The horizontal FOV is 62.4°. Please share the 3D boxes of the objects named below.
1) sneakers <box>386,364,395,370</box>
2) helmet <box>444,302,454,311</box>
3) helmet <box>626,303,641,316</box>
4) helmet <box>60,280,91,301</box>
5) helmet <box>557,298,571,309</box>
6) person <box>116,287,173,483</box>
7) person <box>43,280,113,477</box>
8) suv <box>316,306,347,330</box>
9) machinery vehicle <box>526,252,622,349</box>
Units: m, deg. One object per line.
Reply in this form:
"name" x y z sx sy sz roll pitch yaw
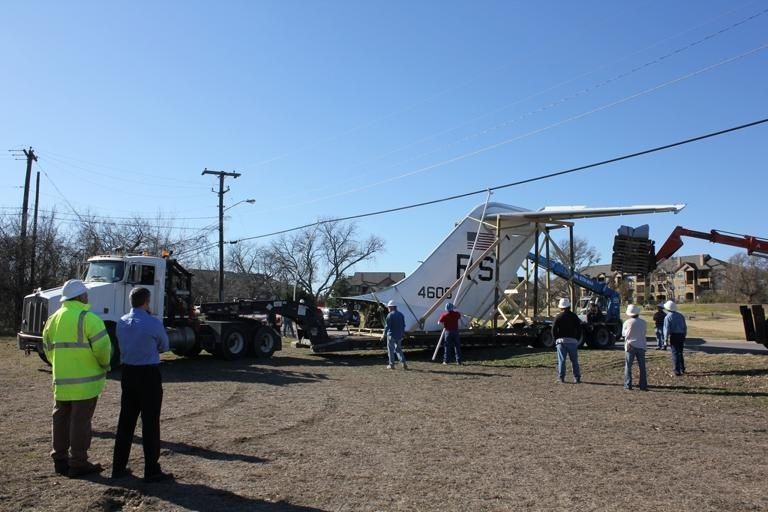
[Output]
"sneakers" 0.197 3.220 18.575 0.097 0.184 0.274 -1 11 -45
"helmet" 1.973 1.498 19.286 0.237 0.318 0.328 0 -14 16
"helmet" 6.324 1.375 16.059 0.429 0.209 0.555 -13 -5 18
"helmet" -4.942 0.529 10.230 0.402 0.267 0.497 -2 5 18
"helmet" 4.705 1.230 16.462 0.288 0.150 0.344 -20 4 15
"person" -3.812 1.969 9.905 0.838 2.909 0.832 -1 3 -22
"person" -4.793 1.903 9.999 0.844 2.975 0.582 -1 3 -26
"suv" -2.904 3.608 37.640 1.423 1.120 2.921 1 2 -9
"machinery vehicle" 7.670 1.954 26.192 5.373 3.429 1.642 6 -3 -32
